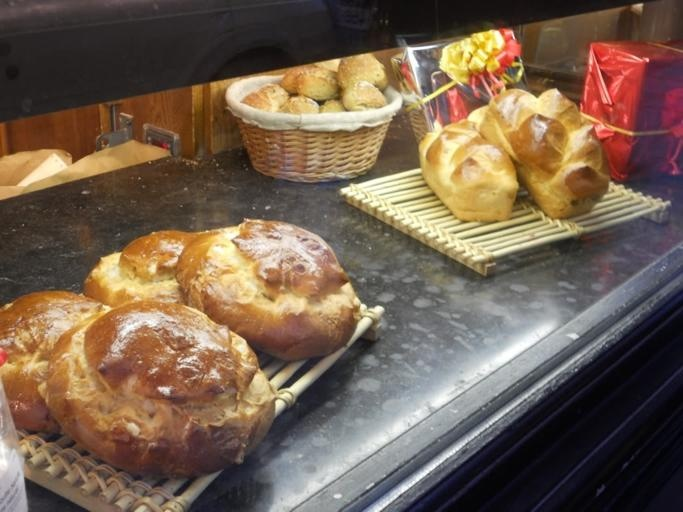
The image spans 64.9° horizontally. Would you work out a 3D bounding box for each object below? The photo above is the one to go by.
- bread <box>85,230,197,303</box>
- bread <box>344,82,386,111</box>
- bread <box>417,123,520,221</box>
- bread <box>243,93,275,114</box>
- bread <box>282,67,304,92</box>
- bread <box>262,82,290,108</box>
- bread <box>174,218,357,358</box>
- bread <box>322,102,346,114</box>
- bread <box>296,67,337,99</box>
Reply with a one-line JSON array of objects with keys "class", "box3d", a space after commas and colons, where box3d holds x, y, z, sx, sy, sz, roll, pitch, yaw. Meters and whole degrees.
[{"class": "bread", "box3d": [-0.265, 0.019, 0.715, 0.097, 0.037, 0.096, -6, 26, -9]}, {"class": "bread", "box3d": [0.059, -0.395, 1.324, 0.087, 0.030, 0.086, 21, 55, 9]}, {"class": "bread", "box3d": [0.283, -0.190, 1.234, 0.151, 0.098, 0.268, -14, 45, -11]}, {"class": "bread", "box3d": [-0.183, -0.345, 1.238, 0.073, 0.043, 0.055, -9, 43, -7]}, {"class": "bread", "box3d": [-0.117, -0.413, 1.280, 0.054, 0.069, 0.033, -6, 42, -4]}, {"class": "bread", "box3d": [-0.153, -0.381, 1.281, 0.049, 0.019, 0.062, -25, 88, -44]}, {"class": "bread", "box3d": [-0.093, 0.025, 0.817, 0.249, 0.103, 0.310, -5, 30, -31]}, {"class": "bread", "box3d": [-0.018, -0.365, 1.334, 0.049, 0.018, 0.055, -6, 30, -7]}, {"class": "bread", "box3d": [-0.059, -0.414, 1.335, 0.081, 0.025, 0.076, 40, 62, -8]}]
